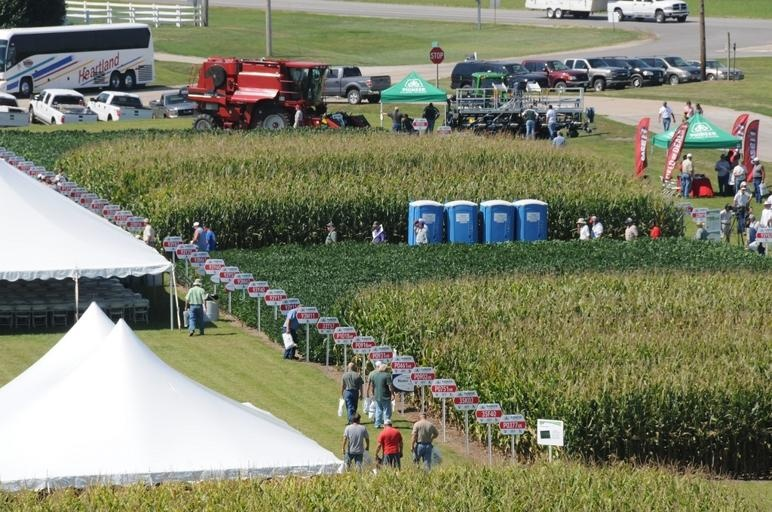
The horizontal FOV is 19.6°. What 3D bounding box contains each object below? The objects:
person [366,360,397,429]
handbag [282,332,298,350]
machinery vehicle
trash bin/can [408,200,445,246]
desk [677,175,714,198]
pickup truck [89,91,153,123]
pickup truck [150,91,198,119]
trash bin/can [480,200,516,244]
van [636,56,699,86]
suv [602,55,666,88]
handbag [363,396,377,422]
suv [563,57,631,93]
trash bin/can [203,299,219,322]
[{"bbox_3d":[-0.209,5.568,90.916,0.904,2.666,0.774,2,13,9],"label":"person"},{"bbox_3d":[-4.109,3.438,94.340,0.558,0.628,0.390,2,13,5],"label":"handbag"},{"bbox_3d":[-6.409,-8.596,118.737,8.156,4.006,2.420,2,13,5],"label":"machinery vehicle"},{"bbox_3d":[1.878,-1.629,103.792,1.574,3.400,1.792,0,1,-15],"label":"trash bin/can"},{"bbox_3d":[15.695,-3.591,111.573,1.192,0.921,1.190,3,15,9],"label":"desk"},{"bbox_3d":[-15.227,-8.544,127.538,3.523,1.592,1.674,9,17,29],"label":"pickup truck"},{"bbox_3d":[-12.276,-8.599,127.832,1.432,1.095,2.475,-5,6,-22],"label":"pickup truck"},{"bbox_3d":[5.291,-1.701,103.907,1.564,3.244,1.706,0,3,-6],"label":"trash bin/can"},{"bbox_3d":[17.388,-11.306,136.690,3.164,1.594,1.661,2,10,22],"label":"van"},{"bbox_3d":[14.931,-11.156,135.296,3.493,1.688,1.706,4,11,31],"label":"suv"},{"bbox_3d":[-0.664,6.128,91.345,0.355,1.090,0.755,-8,15,-22],"label":"handbag"},{"bbox_3d":[12.644,-10.992,133.613,2.980,1.751,1.997,-4,16,-4],"label":"suv"},{"bbox_3d":[-7.598,2.232,97.487,0.683,0.841,0.744,-1,10,-14],"label":"trash bin/can"}]
